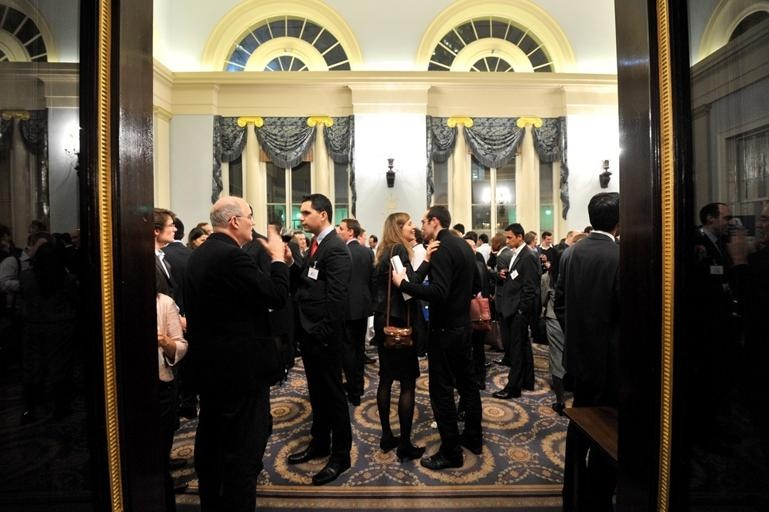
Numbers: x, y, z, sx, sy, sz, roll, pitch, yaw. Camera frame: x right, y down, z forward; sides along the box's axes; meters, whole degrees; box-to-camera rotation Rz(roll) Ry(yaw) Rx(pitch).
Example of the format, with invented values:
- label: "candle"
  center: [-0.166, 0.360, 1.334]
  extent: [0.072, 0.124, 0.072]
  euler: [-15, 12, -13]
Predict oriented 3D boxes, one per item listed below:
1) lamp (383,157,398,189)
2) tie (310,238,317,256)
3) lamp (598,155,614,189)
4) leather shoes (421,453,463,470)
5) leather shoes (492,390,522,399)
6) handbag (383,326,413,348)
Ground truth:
- label: "lamp"
  center: [0.102, -1.231, 8.898]
  extent: [0.161, 0.449, 0.262]
  euler: [-1, 9, -4]
- label: "tie"
  center: [-0.466, -0.060, 3.980]
  extent: [0.022, 0.087, 0.081]
  euler: [7, 1, -23]
- label: "lamp"
  center: [3.374, -1.240, 9.005]
  extent: [0.198, 0.440, 0.258]
  euler: [0, 9, 2]
- label: "leather shoes"
  center: [0.390, 1.344, 3.999]
  extent: [0.269, 0.117, 0.110]
  euler: [2, -2, 0]
- label: "leather shoes"
  center: [1.030, 1.162, 5.047]
  extent: [0.192, 0.087, 0.091]
  euler: [3, -5, -3]
- label: "handbag"
  center: [0.090, 0.478, 3.923]
  extent: [0.206, 0.160, 0.118]
  euler: [0, -5, 0]
